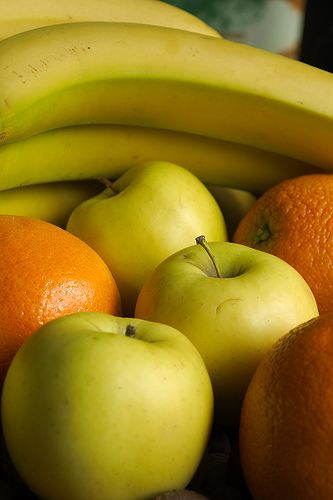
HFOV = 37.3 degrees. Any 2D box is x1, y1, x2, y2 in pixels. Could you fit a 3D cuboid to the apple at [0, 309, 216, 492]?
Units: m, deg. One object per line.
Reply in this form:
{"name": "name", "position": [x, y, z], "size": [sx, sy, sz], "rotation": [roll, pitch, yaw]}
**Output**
{"name": "apple", "position": [-0.038, 0.109, 0.415], "size": [0.154, 0.138, 0.140], "rotation": [7, 13, 4]}

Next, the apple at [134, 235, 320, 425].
{"name": "apple", "position": [0.054, 0.067, 0.554], "size": [0.181, 0.190, 0.178], "rotation": [-2, 2, -38]}
